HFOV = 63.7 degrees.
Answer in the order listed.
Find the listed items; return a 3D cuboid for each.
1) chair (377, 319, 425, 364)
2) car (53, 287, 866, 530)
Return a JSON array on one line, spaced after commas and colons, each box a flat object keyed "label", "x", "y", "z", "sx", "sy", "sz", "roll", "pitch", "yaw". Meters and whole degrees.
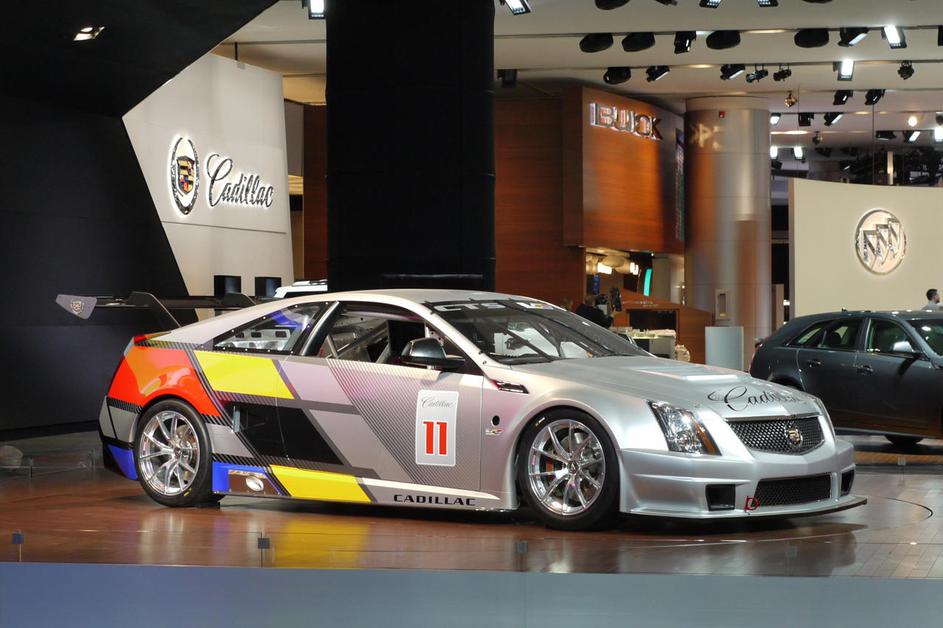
[{"label": "chair", "x": -0.516, "y": 0.208, "z": 5.730, "sx": 0.332, "sy": 0.575, "sz": 0.307, "roll": -1, "pitch": -1, "yaw": -2}, {"label": "car", "x": -0.092, "y": 0.609, "z": 5.344, "sx": 4.950, "sy": 1.589, "sz": 1.087, "roll": -1, "pitch": -3, "yaw": 20}]
